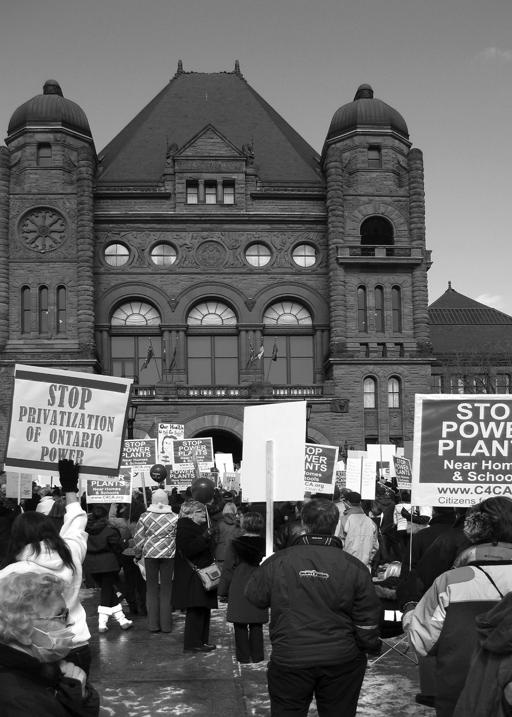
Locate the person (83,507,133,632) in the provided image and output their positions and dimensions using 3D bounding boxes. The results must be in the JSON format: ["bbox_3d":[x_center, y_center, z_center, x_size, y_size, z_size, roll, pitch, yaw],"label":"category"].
[{"bbox_3d":[-1.770,2.463,12.024,0.573,1.380,0.505,-10,-12,17],"label":"person"}]

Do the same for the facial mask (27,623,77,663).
[{"bbox_3d":[-0.844,1.185,4.284,0.220,0.148,0.198,3,-6,-9],"label":"facial mask"}]

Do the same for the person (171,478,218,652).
[{"bbox_3d":[-0.495,2.183,10.795,0.650,1.590,0.656,-3,-2,-16],"label":"person"}]

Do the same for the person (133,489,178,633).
[{"bbox_3d":[-1.133,2.361,11.826,0.714,1.600,0.645,0,-3,-4],"label":"person"}]

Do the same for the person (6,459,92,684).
[{"bbox_3d":[-1.122,1.096,5.779,0.545,1.359,0.490,1,-6,-12],"label":"person"}]

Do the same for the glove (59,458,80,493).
[{"bbox_3d":[-1.250,0.789,6.800,0.151,0.235,0.073,1,-23,-6],"label":"glove"}]

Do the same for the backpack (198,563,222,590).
[{"bbox_3d":[-0.469,2.254,10.475,0.084,0.256,0.272,-26,-14,34],"label":"backpack"}]

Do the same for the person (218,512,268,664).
[{"bbox_3d":[-0.107,2.200,9.660,0.585,1.451,0.583,2,-6,-9],"label":"person"}]

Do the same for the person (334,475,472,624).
[{"bbox_3d":[1.286,1.436,7.636,0.869,1.007,0.406,42,23,20],"label":"person"}]
